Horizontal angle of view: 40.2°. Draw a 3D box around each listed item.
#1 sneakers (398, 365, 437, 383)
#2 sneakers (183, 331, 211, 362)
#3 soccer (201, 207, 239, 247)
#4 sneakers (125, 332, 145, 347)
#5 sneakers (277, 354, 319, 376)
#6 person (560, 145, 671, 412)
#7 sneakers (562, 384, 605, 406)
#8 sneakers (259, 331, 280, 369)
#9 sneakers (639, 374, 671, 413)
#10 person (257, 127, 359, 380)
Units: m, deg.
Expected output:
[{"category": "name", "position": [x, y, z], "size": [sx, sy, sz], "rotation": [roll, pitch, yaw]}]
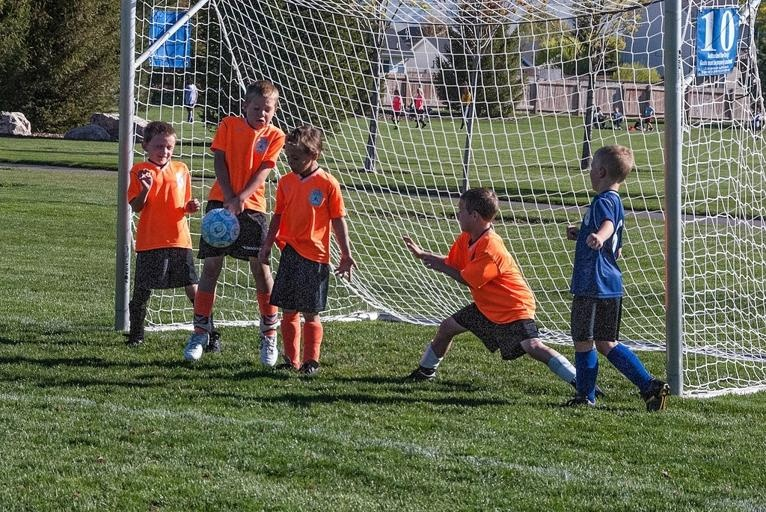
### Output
[{"category": "sneakers", "position": [0.310, 1.072, 9.541], "size": [0.348, 0.168, 0.118], "rotation": [3, 1, -4]}, {"category": "sneakers", "position": [-1.726, 0.803, 9.665], "size": [0.134, 0.152, 0.384], "rotation": [4, 28, 4]}, {"category": "soccer", "position": [-1.448, -0.277, 9.547], "size": [0.315, 0.361, 0.322], "rotation": [-13, 4, 23]}, {"category": "sneakers", "position": [-2.352, 0.802, 9.923], "size": [0.223, 0.163, 0.080], "rotation": [-3, 4, 1]}, {"category": "sneakers", "position": [-0.764, 1.018, 9.573], "size": [0.433, 0.202, 0.153], "rotation": [-7, 35, 13]}, {"category": "person", "position": [1.978, 0.176, 8.992], "size": [0.941, 2.167, 0.670], "rotation": [7, 14, 20]}, {"category": "sneakers", "position": [1.785, 1.207, 9.116], "size": [0.438, 0.193, 0.149], "rotation": [1, 1, -14]}, {"category": "sneakers", "position": [-1.051, 0.821, 9.709], "size": [0.153, 0.153, 0.445], "rotation": [0, 40, -5]}, {"category": "sneakers", "position": [2.328, 1.219, 8.960], "size": [0.137, 0.383, 0.172], "rotation": [-1, 19, -15]}, {"category": "person", "position": [-0.698, -0.040, 9.426], "size": [0.838, 2.181, 0.521], "rotation": [4, 13, 9]}]
